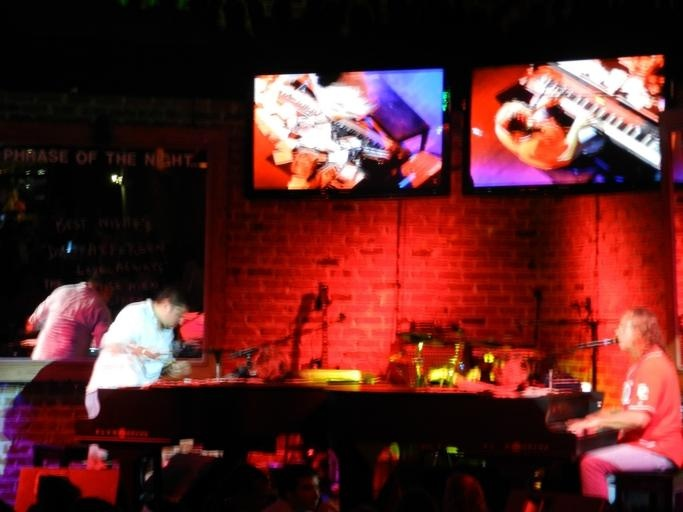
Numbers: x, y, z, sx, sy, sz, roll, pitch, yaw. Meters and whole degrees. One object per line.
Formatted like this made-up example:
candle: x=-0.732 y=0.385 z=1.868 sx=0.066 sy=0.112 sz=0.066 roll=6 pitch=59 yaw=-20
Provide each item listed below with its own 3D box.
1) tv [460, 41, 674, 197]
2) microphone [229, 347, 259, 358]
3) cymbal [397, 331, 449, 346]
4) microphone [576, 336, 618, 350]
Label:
tv: x=1.569 y=-0.909 z=4.832 sx=1.202 sy=0.707 sz=0.053 roll=0 pitch=-2 yaw=8
microphone: x=-0.657 y=0.637 z=4.717 sx=0.258 sy=0.085 sz=0.078 roll=-14 pitch=-4 yaw=43
cymbal: x=0.544 y=0.545 z=4.721 sx=0.355 sy=0.097 sz=0.564 roll=1 pitch=-2 yaw=5
microphone: x=1.689 y=0.570 z=4.695 sx=0.293 sy=0.069 sz=0.075 roll=-17 pitch=3 yaw=43
